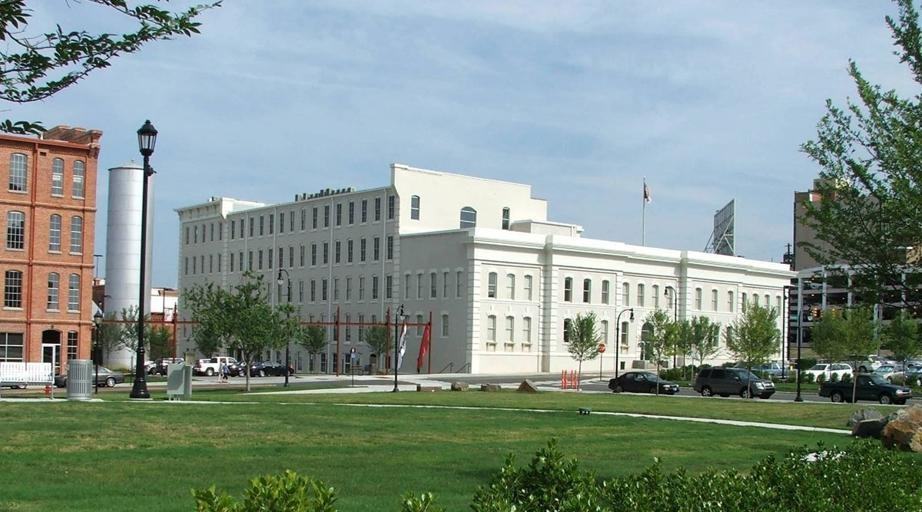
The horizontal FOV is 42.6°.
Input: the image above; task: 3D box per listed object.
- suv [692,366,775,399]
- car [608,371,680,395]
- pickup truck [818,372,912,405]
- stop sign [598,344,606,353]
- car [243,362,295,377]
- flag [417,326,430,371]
[{"bbox_3d":[20.227,9.141,86.959,5.331,1.801,2.423,-8,-9,42],"label":"suv"},{"bbox_3d":[13.847,9.433,89.222,4.599,1.310,1.948,-7,-8,39],"label":"car"},{"bbox_3d":[28.740,9.246,83.640,5.736,1.767,2.514,-5,-8,30],"label":"pickup truck"},{"bbox_3d":[12.974,8.335,108.798,0.976,0.842,0.194,4,-5,24],"label":"stop sign"},{"bbox_3d":[-18.466,10.610,113.107,3.564,1.750,4.583,1,-10,-4],"label":"car"},{"bbox_3d":[-3.617,8.408,112.444,1.177,4.422,2.551,-1,-11,2],"label":"flag"}]
